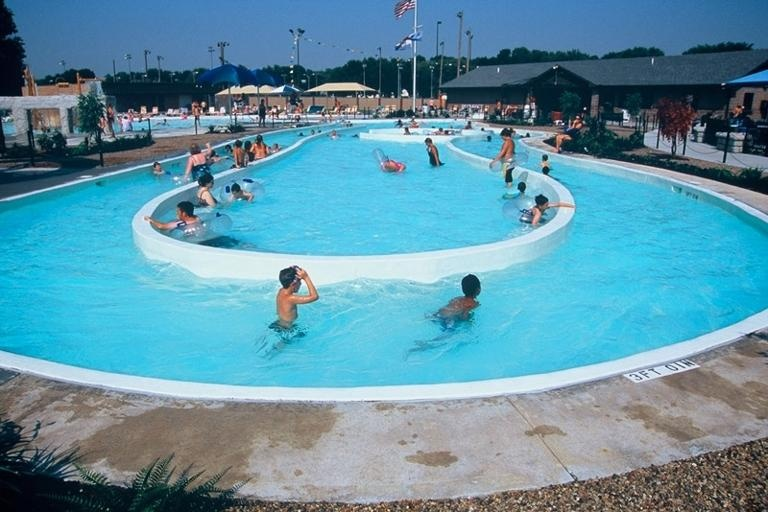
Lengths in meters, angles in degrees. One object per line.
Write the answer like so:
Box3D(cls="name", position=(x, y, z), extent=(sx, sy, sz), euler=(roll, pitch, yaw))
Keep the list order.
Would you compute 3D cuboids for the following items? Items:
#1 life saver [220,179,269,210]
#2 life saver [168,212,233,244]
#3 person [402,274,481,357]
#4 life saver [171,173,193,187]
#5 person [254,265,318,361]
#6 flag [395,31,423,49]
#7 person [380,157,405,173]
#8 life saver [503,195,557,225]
Box3D(cls="life saver", position=(-4.334, -1.859, 14.910), extent=(1.274, 0.414, 1.225), euler=(12, 27, 27))
Box3D(cls="life saver", position=(-3.956, -0.645, 10.553), extent=(1.245, 0.545, 0.661), euler=(-9, 21, -20))
Box3D(cls="person", position=(0.979, 0.854, 7.994), extent=(1.088, 1.107, 0.488), euler=(-14, 24, -29))
Box3D(cls="life saver", position=(-7.280, -2.757, 17.457), extent=(0.927, 0.200, 0.898), euler=(-3, 23, -14))
Box3D(cls="person", position=(-1.580, 0.809, 7.749), extent=(1.004, 1.442, 0.570), euler=(-6, 22, -11))
Box3D(cls="flag", position=(2.101, -17.222, 38.467), extent=(1.585, 1.447, 3.545), euler=(-2, 19, 0))
Box3D(cls="person", position=(0.431, -3.777, 20.041), extent=(0.690, 0.341, 0.951), euler=(0, 15, -30))
Box3D(cls="life saver", position=(3.697, -1.080, 12.004), extent=(1.128, 0.717, 1.217), euler=(-11, -11, 3))
